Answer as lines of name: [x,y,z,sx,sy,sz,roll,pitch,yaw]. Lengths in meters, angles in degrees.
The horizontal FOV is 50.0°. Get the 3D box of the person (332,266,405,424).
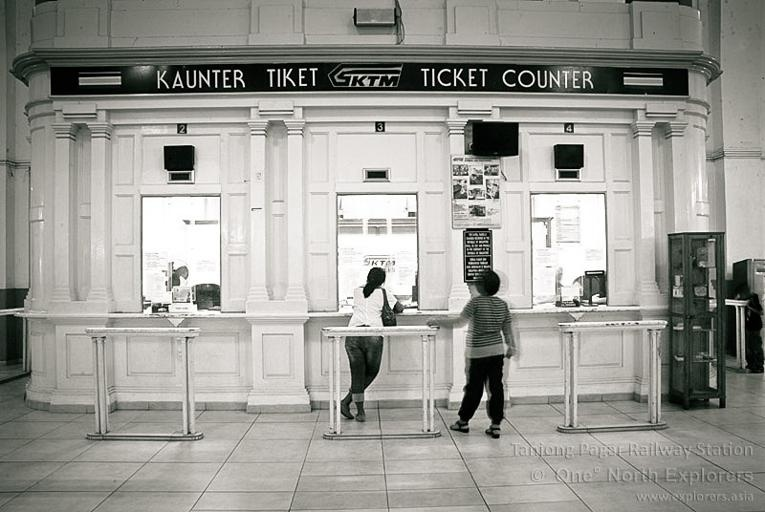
person: [-0.201,1.354,12.336,0.877,2.297,0.763,-1,2,-4]

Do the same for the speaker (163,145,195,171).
speaker: [-3.193,-1.532,13.038,0.413,0.407,0.421,-4,8,-41]

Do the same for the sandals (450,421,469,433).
sandals: [1.135,2.531,12.030,0.263,0.121,0.136,3,3,35]
